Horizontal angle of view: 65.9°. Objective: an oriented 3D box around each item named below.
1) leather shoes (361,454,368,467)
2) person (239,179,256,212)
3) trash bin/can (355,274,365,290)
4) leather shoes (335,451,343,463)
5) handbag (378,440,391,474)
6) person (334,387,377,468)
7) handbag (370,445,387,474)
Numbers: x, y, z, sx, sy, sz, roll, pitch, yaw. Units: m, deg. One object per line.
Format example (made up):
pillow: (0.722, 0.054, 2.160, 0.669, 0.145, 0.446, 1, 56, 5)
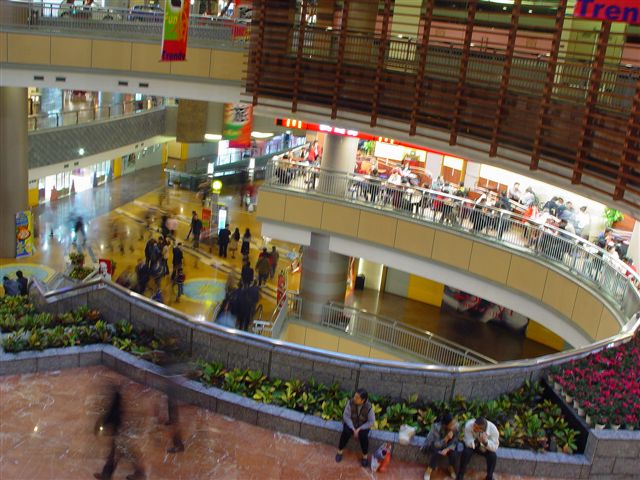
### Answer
leather shoes: (0.608, 2.968, 6.659, 0.102, 0.146, 0.131, 8, 19, 3)
person: (-3.785, -2.468, 26.447, 0.757, 2.261, 0.761, 10, 47, -8)
trash bin/can: (1.508, 1.633, 19.138, 0.338, 0.514, 0.260, 3, 18, -12)
leather shoes: (0.249, 2.941, 6.683, 0.055, 0.069, 0.163, 1, 21, 7)
handbag: (0.862, 2.924, 6.615, 0.092, 0.266, 0.248, 15, 19, 6)
person: (0.494, 2.522, 6.656, 0.456, 0.983, 0.342, 8, 18, 6)
handbag: (0.780, 2.949, 6.602, 0.132, 0.290, 0.250, 34, 2, 4)
